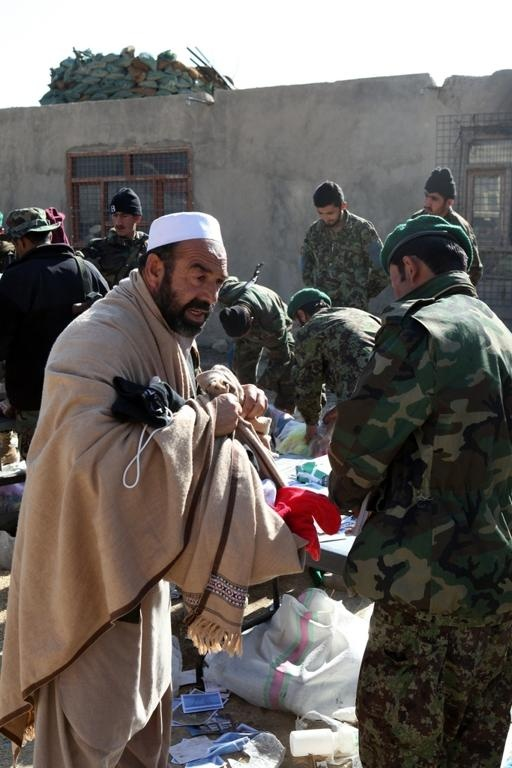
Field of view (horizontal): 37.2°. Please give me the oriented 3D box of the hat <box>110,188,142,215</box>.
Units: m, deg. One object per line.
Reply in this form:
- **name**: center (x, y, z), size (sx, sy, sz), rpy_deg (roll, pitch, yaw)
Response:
- **hat**: center (-1.058, -1.555, 6.362), size (0.270, 0.265, 0.275), rpy_deg (6, 3, -8)

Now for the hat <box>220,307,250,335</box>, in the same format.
- **hat**: center (-0.138, -0.473, 5.746), size (0.185, 0.233, 0.217), rpy_deg (8, -26, 16)

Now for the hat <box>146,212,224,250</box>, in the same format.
- **hat**: center (-0.209, -0.410, 2.055), size (0.144, 0.066, 0.138), rpy_deg (-3, 3, 26)

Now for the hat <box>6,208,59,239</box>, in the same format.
- **hat**: center (-1.298, -0.889, 4.386), size (0.258, 0.110, 0.238), rpy_deg (7, 26, 22)

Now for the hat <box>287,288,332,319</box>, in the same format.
- **hat**: center (0.343, -0.580, 5.298), size (0.223, 0.096, 0.252), rpy_deg (5, -14, -26)
